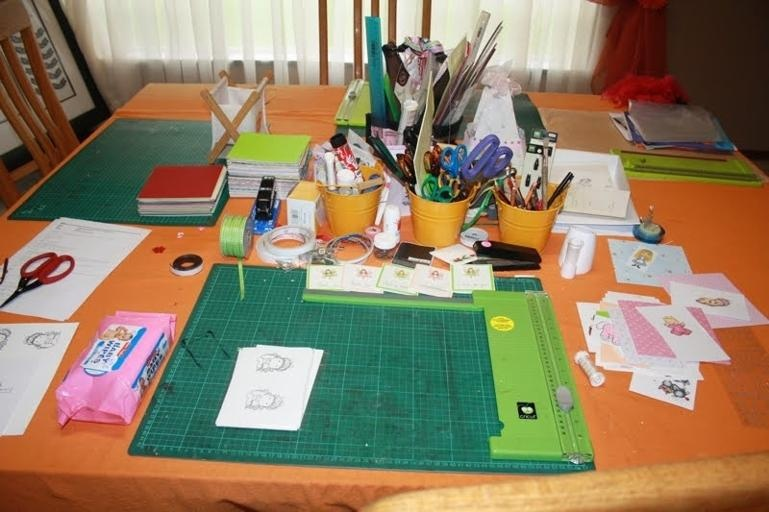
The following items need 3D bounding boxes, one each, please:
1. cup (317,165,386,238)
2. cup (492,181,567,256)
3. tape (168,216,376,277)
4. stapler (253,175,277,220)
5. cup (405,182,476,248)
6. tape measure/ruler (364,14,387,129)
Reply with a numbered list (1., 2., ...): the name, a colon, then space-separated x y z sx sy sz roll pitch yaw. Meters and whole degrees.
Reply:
1. cup: -0.105 -0.162 1.534 0.221 0.185 0.248 -11 35 -22
2. cup: 0.388 -0.105 1.431 0.175 0.175 0.196 5 30 4
3. tape: -0.279 0.005 1.445 0.595 0.136 0.204 1 43 -2
4. stapler: -0.364 -0.186 1.540 0.066 0.058 0.173 0 41 -7
5. cup: 0.158 -0.116 1.411 0.176 0.123 0.159 2 30 -1
6. tape measure/ruler: -0.020 -0.664 1.775 0.075 0.360 0.111 4 37 3
